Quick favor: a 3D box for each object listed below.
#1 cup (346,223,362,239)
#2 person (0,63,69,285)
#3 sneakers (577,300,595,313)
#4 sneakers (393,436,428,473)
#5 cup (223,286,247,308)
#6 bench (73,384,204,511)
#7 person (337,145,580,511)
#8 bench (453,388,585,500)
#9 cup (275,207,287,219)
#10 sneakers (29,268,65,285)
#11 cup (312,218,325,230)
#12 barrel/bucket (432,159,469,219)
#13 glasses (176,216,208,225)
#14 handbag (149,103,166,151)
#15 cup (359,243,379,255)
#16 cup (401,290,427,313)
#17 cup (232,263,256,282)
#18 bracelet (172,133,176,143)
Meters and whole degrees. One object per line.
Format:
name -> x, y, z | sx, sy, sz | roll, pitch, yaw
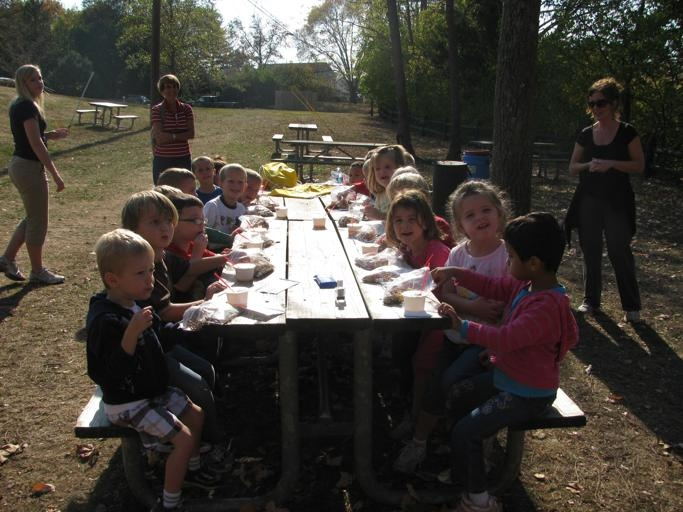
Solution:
cup -> 0.106, -0.219, 5.185 | 0.113, 0.091, 0.105 | -2, 3, 0
person -> -3.190, -0.784, 6.081 | 0.692, 2.214, 0.452 | -2, 15, -12
sneakers -> 2.465, 0.514, 5.977 | 0.215, 0.096, 0.082 | 8, -9, -8
sneakers -> 0.467, 1.309, 3.924 | 0.154, 0.261, 0.102 | 37, 0, 15
cup -> -0.632, 0.243, 3.596 | 0.114, 0.090, 0.117 | -8, 3, 0
bench -> -1.405, 1.191, 3.567 | 0.481, 0.639, 0.343 | 12, 18, 37
person -> 0.879, 0.562, 3.699 | 0.816, 1.683, 0.853 | -6, 16, -25
bench -> 1.049, 1.043, 3.674 | 0.622, 0.633, 0.639 | -1, 19, -1
cup -> -0.596, -0.420, 5.914 | 0.105, 0.082, 0.109 | 1, 5, 0
sneakers -> -3.137, 0.223, 6.379 | 0.335, 0.164, 0.145 | 1, 12, -13
cup -> -0.215, -0.290, 5.418 | 0.098, 0.112, 0.101 | 1, 35, -1
barrel/bucket -> 1.559, -1.034, 8.348 | 0.609, 1.027, 0.627 | 2, -11, 0
glasses -> -1.119, -0.262, 4.408 | 0.128, 0.040, 0.127 | 0, 9, -5
handbag -> -2.217, -1.550, 7.196 | 0.142, 0.546, 0.288 | -3, 15, -16
cup -> 0.207, -0.058, 4.571 | 0.092, 0.063, 0.091 | -3, 9, 1
cup -> 0.434, 0.280, 3.595 | 0.118, 0.093, 0.122 | -1, 17, 0
cup -> -0.646, 0.096, 3.922 | 0.113, 0.081, 0.117 | -1, 16, 0
bracelet -> -2.029, -1.418, 7.200 | 0.027, 0.066, 0.045 | 6, -7, -18
